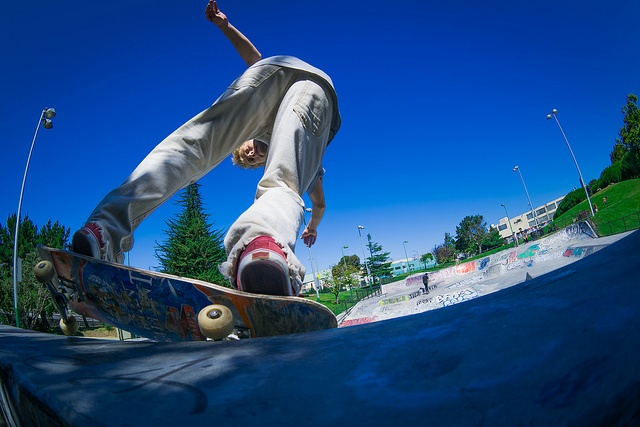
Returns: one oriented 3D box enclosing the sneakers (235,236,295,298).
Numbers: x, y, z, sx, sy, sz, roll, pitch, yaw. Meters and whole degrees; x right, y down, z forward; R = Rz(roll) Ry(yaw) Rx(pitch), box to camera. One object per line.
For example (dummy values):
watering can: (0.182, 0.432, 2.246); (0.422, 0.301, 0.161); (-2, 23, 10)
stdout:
sneakers: (-0.240, 0.298, 1.655); (0.228, 0.209, 0.505); (-3, -43, -2)

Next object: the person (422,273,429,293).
person: (5.517, 3.622, 18.539); (0.303, 0.955, 1.895); (-13, -13, 13)

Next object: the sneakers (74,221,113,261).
sneakers: (-1.009, 0.125, 1.586); (0.103, 0.177, 0.062); (-5, 11, -8)
